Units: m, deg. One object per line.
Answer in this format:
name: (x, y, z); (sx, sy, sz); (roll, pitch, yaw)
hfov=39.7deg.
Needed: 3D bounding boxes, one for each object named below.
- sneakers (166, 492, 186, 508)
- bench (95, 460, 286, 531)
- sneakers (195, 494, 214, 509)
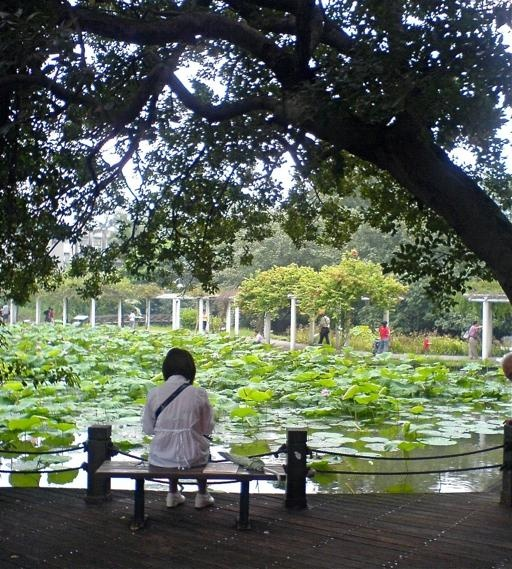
sneakers: (-0.579, 1.591, 5.176); (0.068, 0.068, 0.185); (0, 1, 11)
bench: (-0.428, 1.447, 4.802); (1.271, 0.432, 0.535); (1, -6, -5)
sneakers: (-0.374, 1.594, 5.159); (0.067, 0.065, 0.174); (1, 1, 18)
